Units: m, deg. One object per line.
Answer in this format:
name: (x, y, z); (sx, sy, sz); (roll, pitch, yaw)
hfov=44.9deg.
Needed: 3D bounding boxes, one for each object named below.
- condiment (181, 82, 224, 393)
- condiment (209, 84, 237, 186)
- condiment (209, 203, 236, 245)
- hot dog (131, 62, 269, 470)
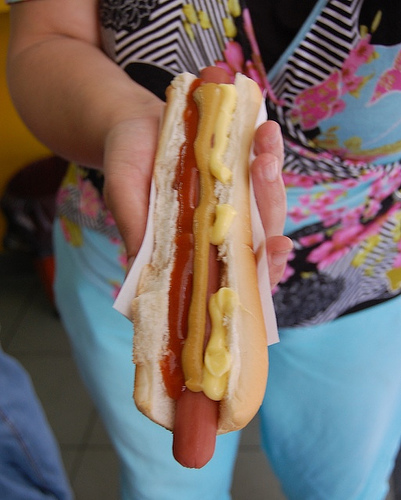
condiment: (0.000, -0.016, 0.647); (0.055, 0.047, 0.390); (-1, 71, -1)
condiment: (0.028, -0.161, 0.691); (0.039, 0.022, 0.142); (1, 83, 5)
condiment: (0.027, -0.035, 0.654); (0.034, 0.021, 0.052); (15, 75, -6)
hot dog: (-0.001, -0.002, 0.690); (0.211, 0.118, 0.538); (0, 74, -1)
